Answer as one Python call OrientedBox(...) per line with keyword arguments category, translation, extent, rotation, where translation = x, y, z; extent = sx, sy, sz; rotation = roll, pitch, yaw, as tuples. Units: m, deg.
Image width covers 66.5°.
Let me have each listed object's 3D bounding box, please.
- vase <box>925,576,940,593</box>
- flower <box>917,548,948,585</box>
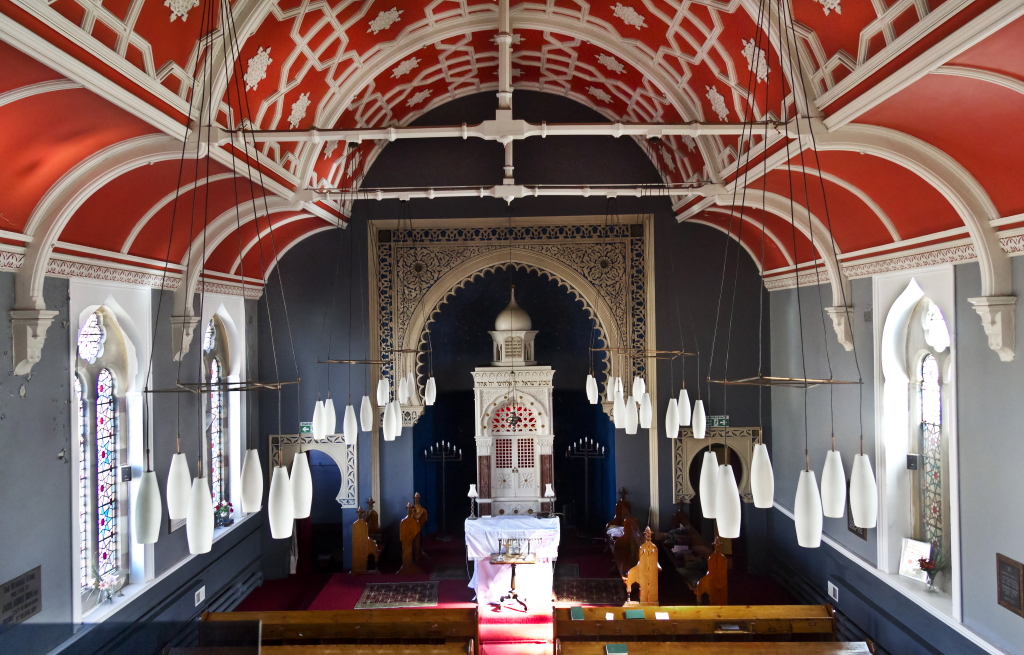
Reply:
OrientedBox(category="vase", translation=(6.897, 4.157, 12.733), extent=(0.248, 0.224, 0.171), rotation=(5, -8, -26))
OrientedBox(category="flower", translation=(6.873, 3.929, 12.945), extent=(0.429, 0.513, 0.425), rotation=(0, -1, -5))
